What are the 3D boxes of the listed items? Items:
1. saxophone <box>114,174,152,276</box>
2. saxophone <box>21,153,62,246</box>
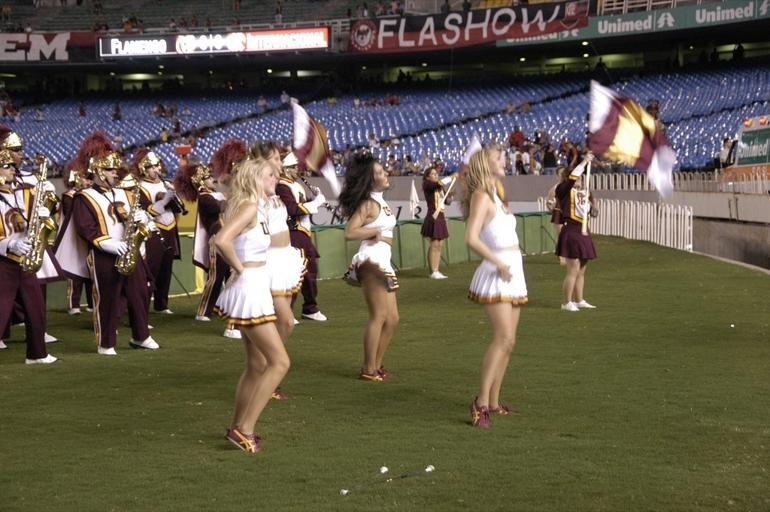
[{"bbox_3d":[-3.171,-0.378,10.946,0.400,1.152,0.257,7,-8,-7],"label":"saxophone"},{"bbox_3d":[-4.198,-0.697,10.661,0.370,1.050,0.315,3,-15,4],"label":"saxophone"}]
